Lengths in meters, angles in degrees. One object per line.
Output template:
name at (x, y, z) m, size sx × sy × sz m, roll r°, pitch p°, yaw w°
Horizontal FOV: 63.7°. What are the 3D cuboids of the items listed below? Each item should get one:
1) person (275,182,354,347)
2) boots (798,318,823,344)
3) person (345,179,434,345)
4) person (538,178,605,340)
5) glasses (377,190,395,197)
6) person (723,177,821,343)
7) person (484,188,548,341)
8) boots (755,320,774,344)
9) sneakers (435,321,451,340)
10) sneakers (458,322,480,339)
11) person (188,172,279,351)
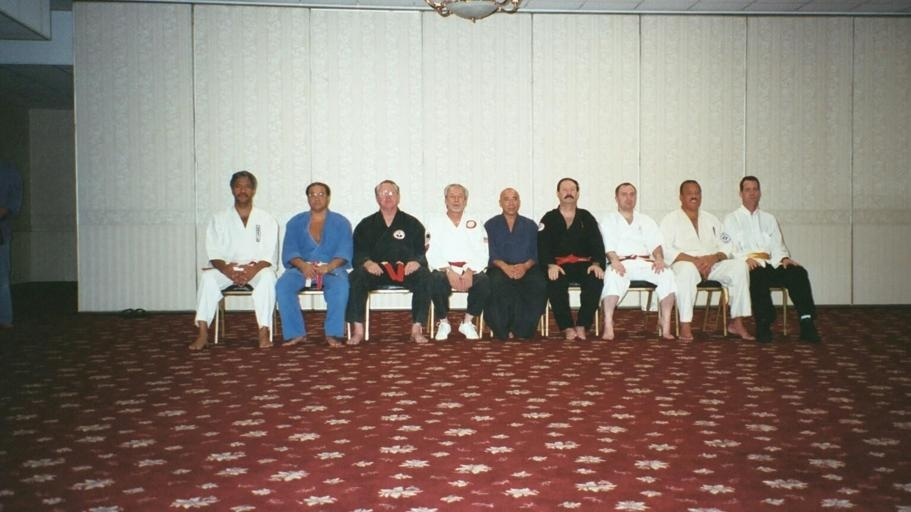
person at (-1.659, 0.085, 8.649) m, size 0.868 × 1.854 × 0.751 m, roll -1°, pitch 9°, yaw -6°
boots at (4.144, 0.857, 8.568) m, size 0.256 × 0.270 × 0.232 m, roll 6°, pitch 11°, yaw 37°
person at (-0.817, 0.063, 8.775) m, size 0.990 × 1.876 × 0.810 m, roll -1°, pitch 9°, yaw -5°
person at (1.409, 0.027, 8.846) m, size 0.821 × 1.865 × 0.664 m, roll 1°, pitch 9°, yaw 9°
glasses at (-0.848, -0.756, 8.874) m, size 0.225 × 0.075 × 0.070 m, roll 1°, pitch 9°, yaw 7°
person at (3.810, 0.010, 8.860) m, size 0.895 × 1.892 × 1.056 m, roll -1°, pitch 9°, yaw -5°
person at (0.724, 0.090, 8.852) m, size 0.715 × 1.751 × 0.626 m, roll 0°, pitch 9°, yaw 2°
boots at (3.599, 0.879, 8.526) m, size 0.166 × 0.229 × 0.195 m, roll 3°, pitch 9°, yaw 20°
sneakers at (-0.162, 0.869, 8.855) m, size 0.195 × 0.235 × 0.433 m, roll 0°, pitch 8°, yaw 0°
sneakers at (0.157, 0.903, 8.815) m, size 0.145 × 0.111 × 0.290 m, roll -3°, pitch 3°, yaw -21°
person at (-2.576, 0.020, 8.603) m, size 0.982 × 1.966 × 0.888 m, roll -1°, pitch 9°, yaw -3°
